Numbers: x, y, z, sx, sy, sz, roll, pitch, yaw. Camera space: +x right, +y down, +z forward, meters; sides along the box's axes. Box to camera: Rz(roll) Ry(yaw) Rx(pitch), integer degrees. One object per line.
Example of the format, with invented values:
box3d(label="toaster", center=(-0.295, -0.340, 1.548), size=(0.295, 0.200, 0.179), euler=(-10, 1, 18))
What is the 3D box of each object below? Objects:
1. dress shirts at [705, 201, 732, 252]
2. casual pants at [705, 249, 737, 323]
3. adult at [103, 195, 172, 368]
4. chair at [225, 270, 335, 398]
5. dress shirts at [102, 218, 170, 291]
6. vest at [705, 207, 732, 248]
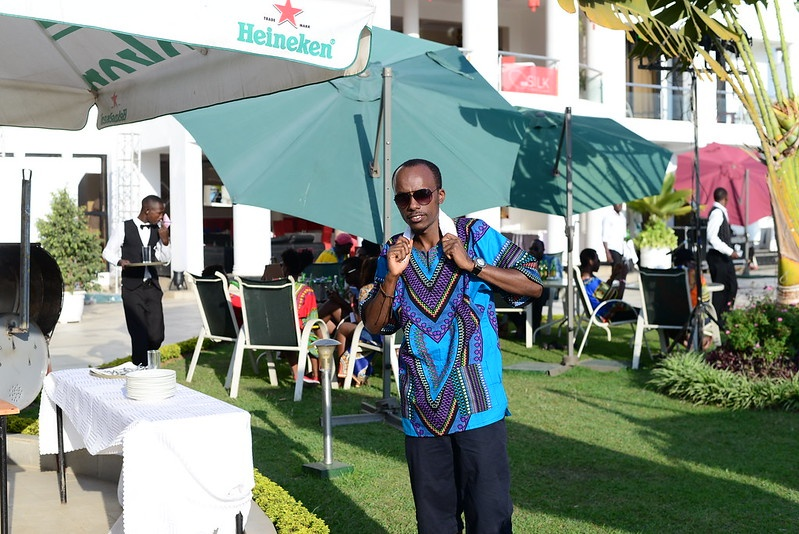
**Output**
box3d(label="dress shirts", center=(5.090, -0.718, 11.895), size=(0.335, 0.656, 0.705), euler=(-3, 18, 34))
box3d(label="casual pants", center=(5.168, 0.194, 12.065), size=(0.318, 1.362, 0.329), euler=(-18, 20, -9))
box3d(label="adult", center=(-3.201, 0.273, 9.186), size=(0.712, 2.367, 0.632), euler=(-2, 9, -32))
box3d(label="chair", center=(-1.487, 0.820, 9.203), size=(1.195, 1.527, 1.227), euler=(7, 8, 41))
box3d(label="dress shirts", center=(-3.248, -0.216, 9.367), size=(0.793, 0.920, 0.455), euler=(5, -14, -35))
box3d(label="vest", center=(5.103, -0.641, 11.972), size=(0.394, 0.778, 0.812), euler=(-1, 5, 31))
